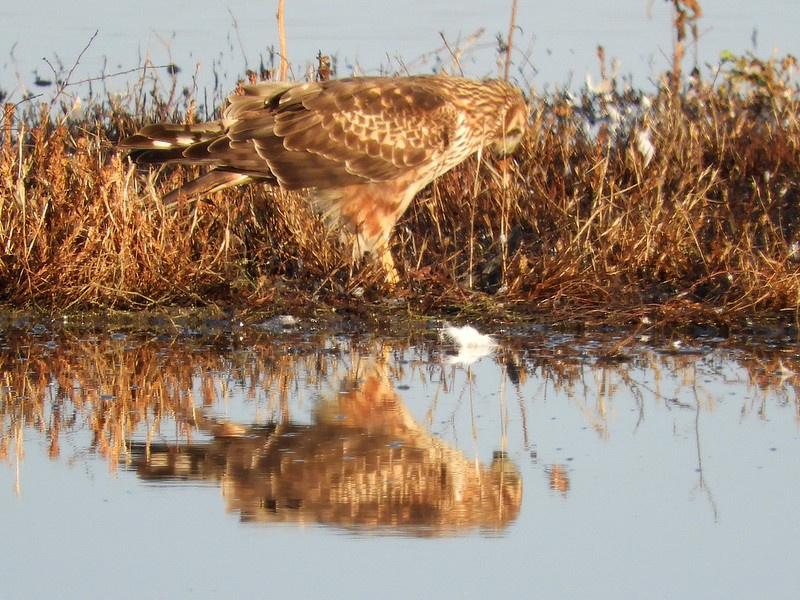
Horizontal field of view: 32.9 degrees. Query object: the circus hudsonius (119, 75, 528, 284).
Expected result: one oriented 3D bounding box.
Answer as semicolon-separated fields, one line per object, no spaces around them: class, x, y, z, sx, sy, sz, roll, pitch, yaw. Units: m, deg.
circus hudsonius;-0.391;-0.853;9.090;2.630;1.159;0.949;-3;29;-12
